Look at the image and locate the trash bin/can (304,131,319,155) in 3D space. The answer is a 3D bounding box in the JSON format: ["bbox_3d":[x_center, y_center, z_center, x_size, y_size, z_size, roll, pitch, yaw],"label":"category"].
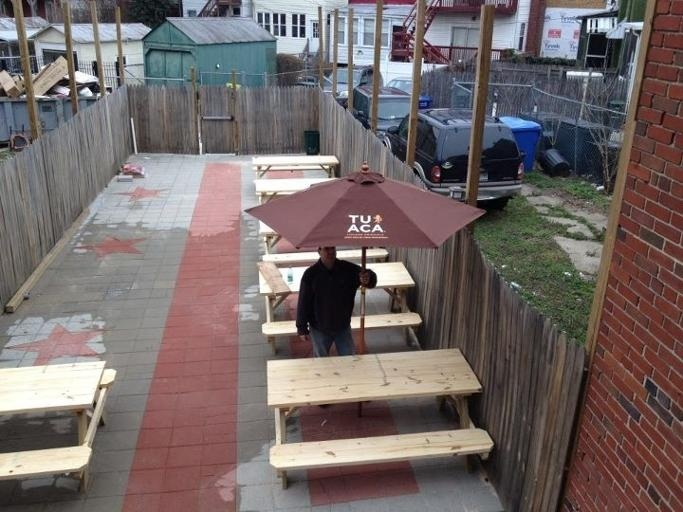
[{"bbox_3d":[-1.103,-4.319,18.798,0.627,0.832,0.585,-13,26,-27],"label":"trash bin/can"}]

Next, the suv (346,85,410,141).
[{"bbox_3d":[1.431,-5.213,18.718,2.082,1.843,3.401,-11,33,-18],"label":"suv"}]

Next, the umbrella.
[{"bbox_3d":[0.282,0.017,5.379,1.454,1.296,1.384,-17,38,-20],"label":"umbrella"}]

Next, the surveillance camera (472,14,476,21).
[{"bbox_3d":[9.544,-17.005,35.328,0.157,0.382,0.400,-18,27,-37],"label":"surveillance camera"}]
